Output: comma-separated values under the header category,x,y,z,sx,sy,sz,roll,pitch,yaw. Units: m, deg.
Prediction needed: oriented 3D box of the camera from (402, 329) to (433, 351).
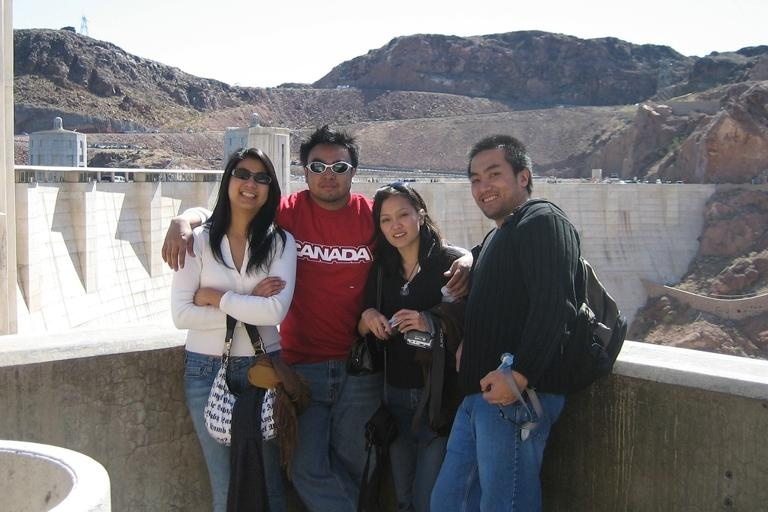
category,x,y,z,sx,sy,sz,roll,pitch,yaw
camera,0.195,0.505,4.481,0.143,0.068,0.110,12,-1,-20

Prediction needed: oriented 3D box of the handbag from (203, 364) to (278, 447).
category,x,y,z,sx,sy,sz,roll,pitch,yaw
handbag,-0.823,0.868,4.262,0.444,0.462,0.172,3,-24,3

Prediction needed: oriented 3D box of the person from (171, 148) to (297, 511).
category,x,y,z,sx,sy,sz,roll,pitch,yaw
person,-0.879,0.409,4.470,0.684,2.068,0.551,-9,13,-44

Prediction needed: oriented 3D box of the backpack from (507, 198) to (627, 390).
category,x,y,z,sx,sy,sz,roll,pitch,yaw
backpack,0.984,0.233,4.158,0.692,1.058,0.494,1,10,0

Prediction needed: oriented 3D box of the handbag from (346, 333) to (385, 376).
category,x,y,z,sx,sy,sz,roll,pitch,yaw
handbag,-0.125,0.616,4.627,0.116,0.253,0.276,1,5,21
